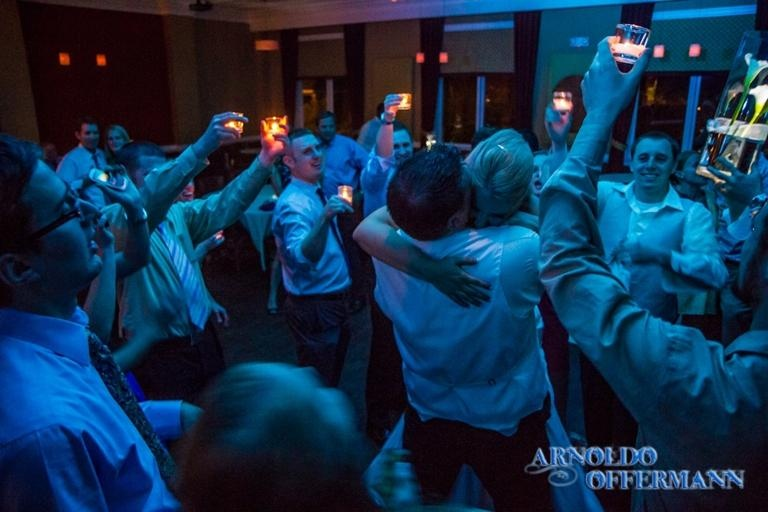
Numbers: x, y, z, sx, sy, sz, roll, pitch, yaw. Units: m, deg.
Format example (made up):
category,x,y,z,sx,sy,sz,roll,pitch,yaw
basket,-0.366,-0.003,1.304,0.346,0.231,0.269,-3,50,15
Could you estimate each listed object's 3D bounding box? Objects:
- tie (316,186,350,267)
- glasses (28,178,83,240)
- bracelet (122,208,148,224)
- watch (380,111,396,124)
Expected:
category,x,y,z,sx,sy,sz,roll,pitch,yaw
tie,-0.322,-0.158,3.034,0.257,0.382,0.249,0,21,-8
glasses,-0.926,-0.128,1.534,0.143,0.044,0.141,-28,38,13
bracelet,-1.061,-0.179,2.308,0.065,0.048,0.079,-14,12,-20
watch,0.024,-0.961,3.813,0.100,0.091,0.100,10,42,14
